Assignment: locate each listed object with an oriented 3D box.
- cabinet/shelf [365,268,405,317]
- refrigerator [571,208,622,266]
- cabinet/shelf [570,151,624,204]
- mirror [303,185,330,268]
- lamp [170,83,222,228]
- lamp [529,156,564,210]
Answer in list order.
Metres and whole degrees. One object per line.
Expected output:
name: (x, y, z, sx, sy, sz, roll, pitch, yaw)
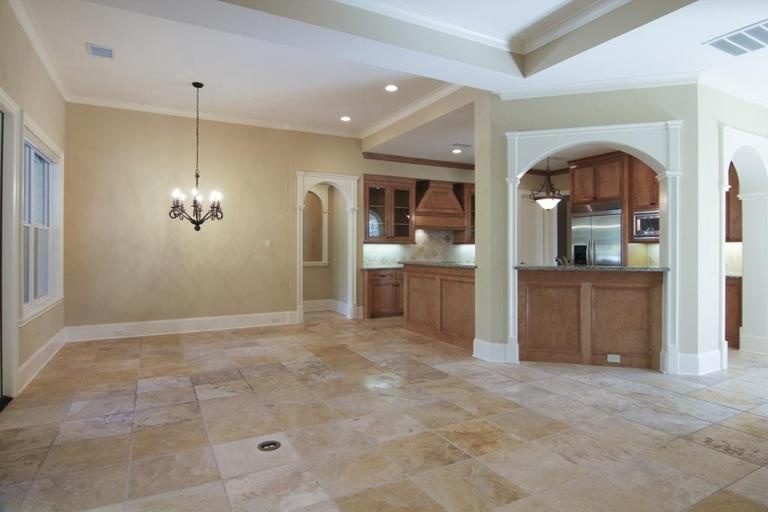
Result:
cabinet/shelf: (0.267, 0.756, 9.619, 1.175, 1.026, 0.440, -2, -6, 7)
refrigerator: (4.125, -0.079, 9.106, 0.694, 1.511, 0.923, 1, -1, -39)
cabinet/shelf: (3.989, -1.474, 8.841, 0.539, 0.925, 1.031, 2, -2, -30)
mirror: (-1.495, -0.731, 10.538, 0.697, 1.825, 0.206, 7, 14, 27)
lamp: (-3.031, -1.491, 7.531, 0.849, 2.259, 1.452, -6, 14, -21)
lamp: (2.862, -1.287, 8.353, 0.750, 0.913, 0.753, 4, 6, 35)
